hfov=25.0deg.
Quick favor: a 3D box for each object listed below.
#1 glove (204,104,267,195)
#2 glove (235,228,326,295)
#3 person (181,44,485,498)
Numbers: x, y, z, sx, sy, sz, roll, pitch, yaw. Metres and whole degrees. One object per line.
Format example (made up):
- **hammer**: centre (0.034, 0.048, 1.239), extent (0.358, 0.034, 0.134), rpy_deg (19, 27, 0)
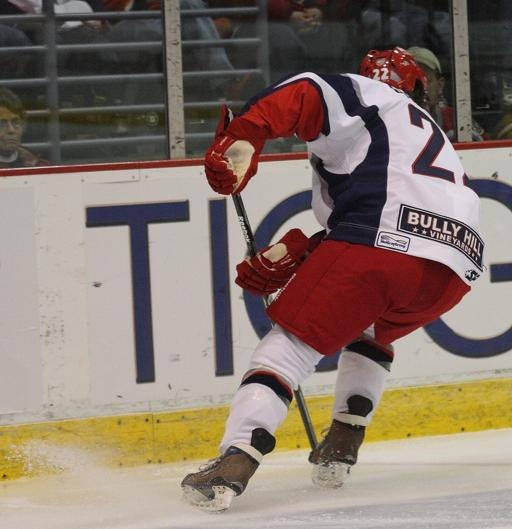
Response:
- **glove**: centre (-0.070, -0.390, 4.035), extent (0.257, 0.257, 0.119), rpy_deg (15, -9, -9)
- **glove**: centre (0.094, 0.005, 4.291), extent (0.133, 0.305, 0.194), rpy_deg (47, 7, 37)
- **person**: centre (0.276, 0.046, 4.204), extent (1.157, 1.584, 0.593), rpy_deg (-7, 15, -13)
